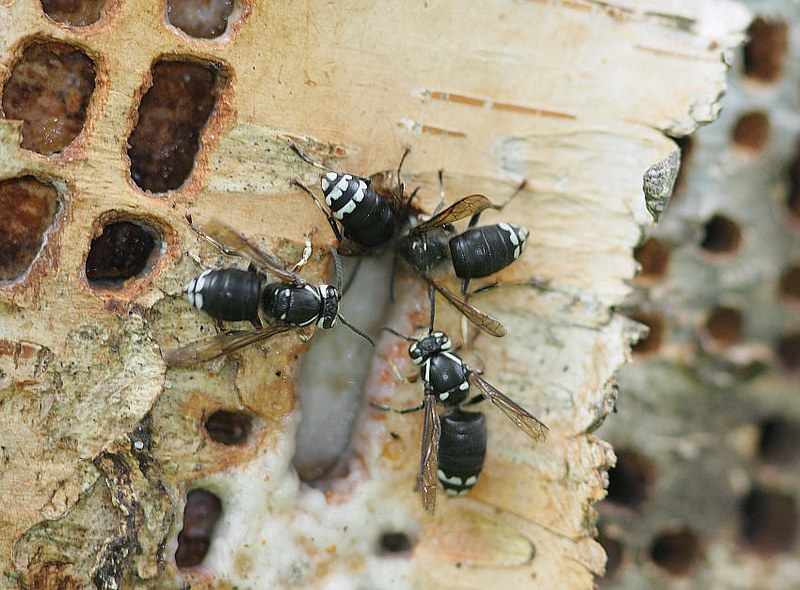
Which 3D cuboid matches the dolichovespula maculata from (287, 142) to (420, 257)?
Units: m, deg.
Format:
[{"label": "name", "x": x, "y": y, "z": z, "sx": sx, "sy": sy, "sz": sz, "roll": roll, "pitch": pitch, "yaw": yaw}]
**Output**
[{"label": "dolichovespula maculata", "x": -0.123, "y": -0.290, "z": 3.659, "sx": 0.338, "sy": 0.115, "sz": 0.403, "roll": -26, "pitch": 114, "yaw": -14}]
